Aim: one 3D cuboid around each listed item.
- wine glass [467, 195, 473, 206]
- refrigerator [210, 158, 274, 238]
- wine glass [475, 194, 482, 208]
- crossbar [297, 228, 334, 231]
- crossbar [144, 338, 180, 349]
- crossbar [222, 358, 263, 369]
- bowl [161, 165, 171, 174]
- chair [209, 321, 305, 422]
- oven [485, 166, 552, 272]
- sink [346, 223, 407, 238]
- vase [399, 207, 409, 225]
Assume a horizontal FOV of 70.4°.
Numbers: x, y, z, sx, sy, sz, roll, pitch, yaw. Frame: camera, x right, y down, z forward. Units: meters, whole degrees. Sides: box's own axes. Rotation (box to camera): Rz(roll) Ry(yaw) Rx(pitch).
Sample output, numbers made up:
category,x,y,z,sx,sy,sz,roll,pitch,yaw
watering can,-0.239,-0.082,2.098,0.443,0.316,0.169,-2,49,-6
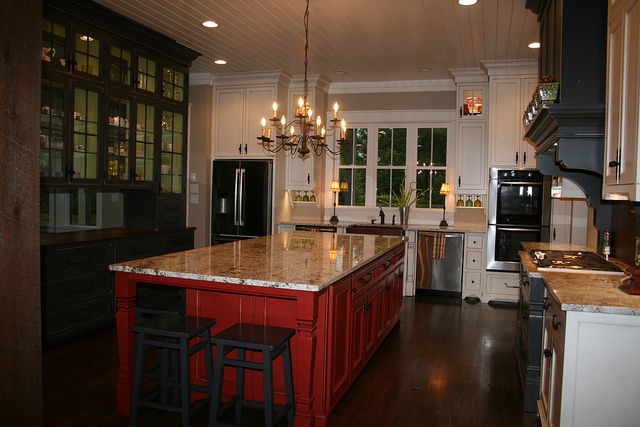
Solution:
category,x,y,z,sx,sy,sz,roll,pitch,yaw
wine glass,2.308,-0.187,6.957,0.077,0.148,0.101,3,6,17
refrigerator,-1.252,-0.237,7.222,0.898,1.366,0.554,2,20,-9
wine glass,2.428,-0.177,6.932,0.104,0.195,0.100,3,6,16
crossbar,-0.064,0.258,7.047,0.567,0.029,0.080,2,6,-1
crossbar,-1.018,0.839,2.924,0.109,0.024,0.113,1,-3,33
crossbar,-0.472,0.942,2.861,0.259,0.060,0.107,2,6,8
bowl,-1.958,-0.552,5.766,0.037,0.112,0.173,3,6,12
chair,-0.410,1.135,3.068,0.622,0.774,0.654,2,6,1
oven,2.775,0.126,6.567,0.891,1.581,0.777,2,1,10
sink,0.863,0.249,6.935,0.919,0.130,0.418,3,6,11
vase,1.340,0.046,7.204,0.138,0.265,0.134,3,6,11
